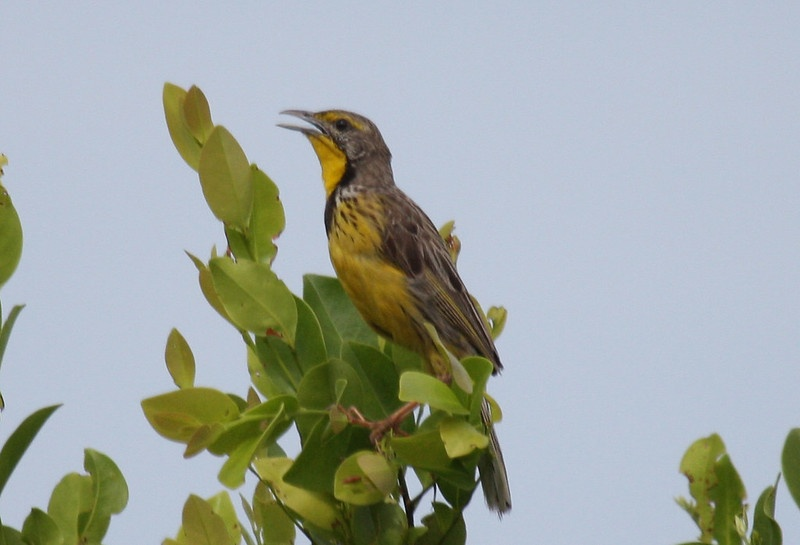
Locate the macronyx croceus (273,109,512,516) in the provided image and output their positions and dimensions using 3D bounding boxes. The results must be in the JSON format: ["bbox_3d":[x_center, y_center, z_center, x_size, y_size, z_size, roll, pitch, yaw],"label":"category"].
[{"bbox_3d":[-0.019,0.137,4.927,0.972,1.565,0.437,10,-22,-13],"label":"macronyx croceus"}]
